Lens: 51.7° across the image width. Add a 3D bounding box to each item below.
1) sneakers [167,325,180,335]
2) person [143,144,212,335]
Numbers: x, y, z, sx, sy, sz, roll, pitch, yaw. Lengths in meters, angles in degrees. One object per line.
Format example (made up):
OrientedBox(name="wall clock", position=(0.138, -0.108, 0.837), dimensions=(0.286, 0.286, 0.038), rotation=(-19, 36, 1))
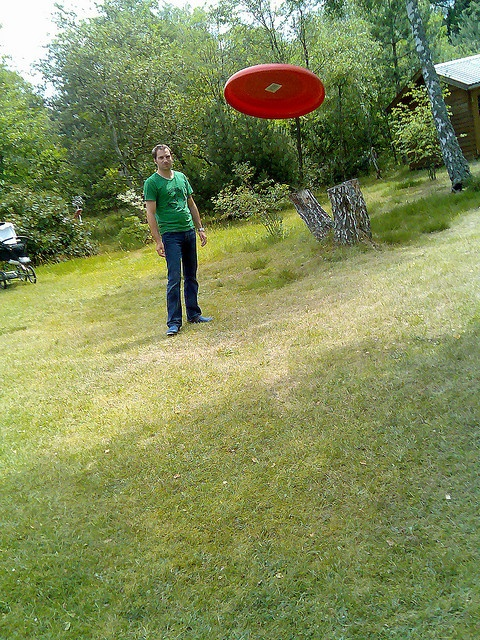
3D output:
OrientedBox(name="sneakers", position=(-0.579, 0.090, 4.244), dimensions=(0.114, 0.064, 0.159), rotation=(-11, 12, -9))
OrientedBox(name="person", position=(-0.551, -0.740, 4.455), dimensions=(0.397, 1.591, 0.851), rotation=(-2, 10, 18))
